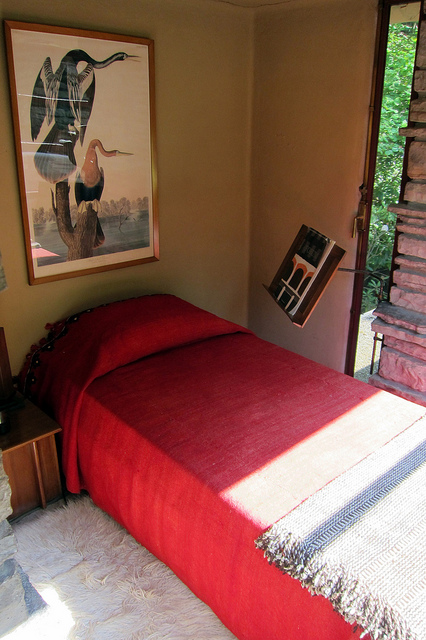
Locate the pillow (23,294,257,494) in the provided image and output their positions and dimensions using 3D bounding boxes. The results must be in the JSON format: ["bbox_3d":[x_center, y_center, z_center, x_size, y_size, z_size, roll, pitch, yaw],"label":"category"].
[{"bbox_3d":[-0.324,0.322,2.025,0.851,0.444,0.811,-23,35,-37],"label":"pillow"}]

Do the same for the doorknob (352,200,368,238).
[{"bbox_3d":[0.771,-0.529,2.455,0.034,0.198,0.074,-5,16,-21],"label":"doorknob"}]

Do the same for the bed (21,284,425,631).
[{"bbox_3d":[0.024,0.366,1.611,0.901,0.492,1.418,-20,30,-34],"label":"bed"}]
